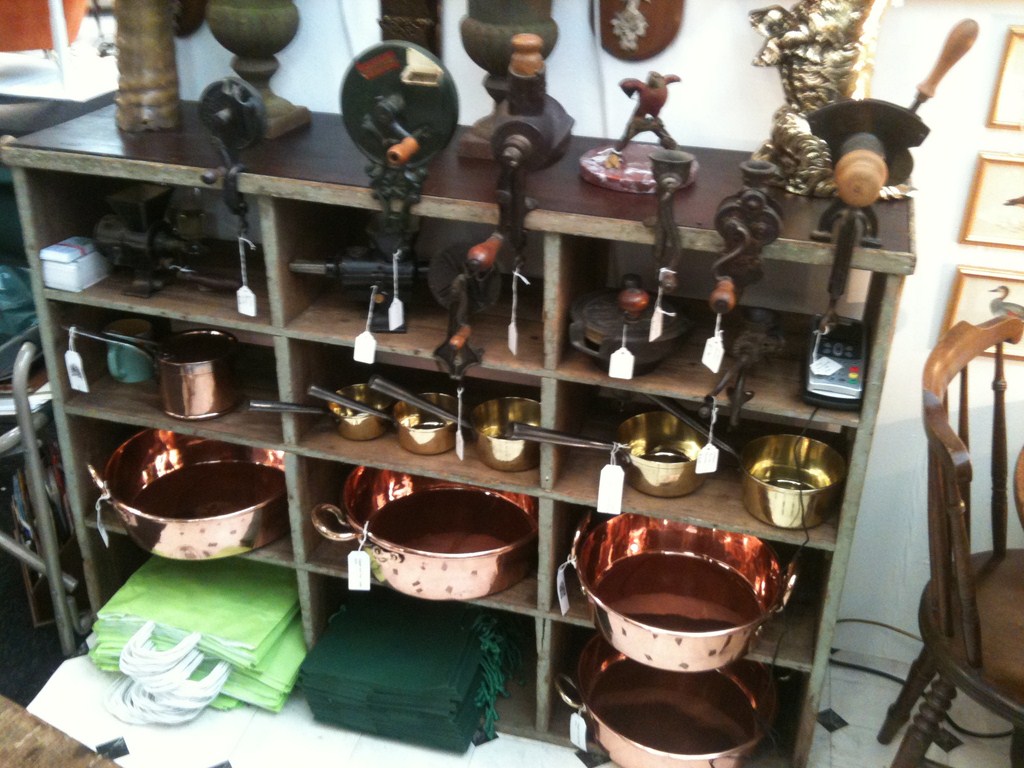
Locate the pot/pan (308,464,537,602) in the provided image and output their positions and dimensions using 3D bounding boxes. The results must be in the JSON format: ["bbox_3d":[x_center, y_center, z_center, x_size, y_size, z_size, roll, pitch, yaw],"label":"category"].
[{"bbox_3d":[-0.230,0.464,2.714,0.569,0.171,0.443,-12,31,-27],"label":"pot/pan"}]

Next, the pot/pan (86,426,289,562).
[{"bbox_3d":[-1.022,0.351,2.916,0.449,0.185,0.565,28,40,30],"label":"pot/pan"}]

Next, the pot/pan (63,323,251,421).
[{"bbox_3d":[-1.058,-0.047,2.655,0.452,0.306,0.247,-12,35,-29],"label":"pot/pan"}]

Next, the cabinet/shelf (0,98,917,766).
[{"bbox_3d":[-0.111,0.152,2.533,1.971,1.457,0.512,8,38,13],"label":"cabinet/shelf"}]

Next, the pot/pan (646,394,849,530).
[{"bbox_3d":[0.552,0.163,2.514,0.676,0.263,0.251,20,46,29],"label":"pot/pan"}]

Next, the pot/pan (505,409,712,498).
[{"bbox_3d":[0.269,0.229,2.517,0.540,0.155,0.236,-2,33,-14],"label":"pot/pan"}]
